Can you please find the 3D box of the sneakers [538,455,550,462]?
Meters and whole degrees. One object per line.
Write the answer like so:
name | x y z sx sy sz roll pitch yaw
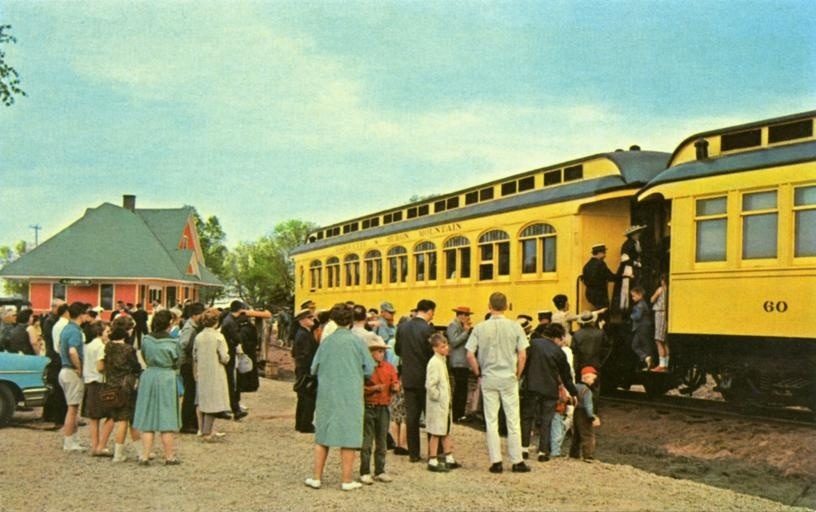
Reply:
sneakers | 2.298 3.391 14.131 0.238 0.105 0.132 0 7 -18

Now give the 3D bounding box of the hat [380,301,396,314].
hat | -0.391 0.964 15.741 0.196 0.182 0.312 4 7 13

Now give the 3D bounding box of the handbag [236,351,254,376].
handbag | -3.149 2.057 16.111 0.283 0.400 0.208 -6 32 3

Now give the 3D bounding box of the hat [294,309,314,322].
hat | -1.984 1.127 15.951 0.306 0.230 0.273 1 7 -6

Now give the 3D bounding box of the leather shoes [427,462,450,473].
leather shoes | 0.477 3.367 13.409 0.387 0.207 0.131 -2 1 2

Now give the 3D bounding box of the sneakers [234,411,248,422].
sneakers | -3.318 3.113 16.485 0.249 0.214 0.394 1 7 -10

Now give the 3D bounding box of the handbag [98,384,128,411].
handbag | -4.677 2.260 13.292 0.414 0.443 0.139 3 8 7

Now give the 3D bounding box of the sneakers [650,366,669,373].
sneakers | 4.942 2.219 16.466 0.251 0.086 0.131 4 -6 1

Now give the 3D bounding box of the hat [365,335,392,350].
hat | -0.469 1.322 12.861 0.367 0.205 0.174 -2 8 -29

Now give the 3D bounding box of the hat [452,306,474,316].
hat | 1.005 1.003 15.337 0.338 0.090 0.316 6 -5 -10

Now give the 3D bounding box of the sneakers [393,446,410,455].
sneakers | -0.125 3.323 14.303 0.258 0.096 0.112 -1 0 -6

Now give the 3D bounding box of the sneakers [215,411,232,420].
sneakers | -3.675 3.152 16.707 0.294 0.121 0.493 0 6 -13

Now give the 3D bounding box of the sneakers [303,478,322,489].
sneakers | -1.446 3.411 12.618 0.120 0.111 0.267 3 1 -45

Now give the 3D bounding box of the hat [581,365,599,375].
hat | 3.081 1.930 14.189 0.275 0.117 0.184 -6 1 -6

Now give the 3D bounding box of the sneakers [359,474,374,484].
sneakers | -0.625 3.395 12.731 0.110 0.081 0.197 1 -12 -22

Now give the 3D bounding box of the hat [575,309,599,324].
hat | 3.382 1.156 15.913 0.368 0.233 0.426 2 6 3

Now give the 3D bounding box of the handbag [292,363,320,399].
handbag | -1.744 2.046 13.603 0.424 0.482 0.565 22 4 -16

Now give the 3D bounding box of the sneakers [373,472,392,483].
sneakers | -0.396 3.402 12.885 0.228 0.083 0.121 -5 -5 41

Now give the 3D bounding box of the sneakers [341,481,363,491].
sneakers | -0.854 3.425 12.532 0.256 0.090 0.123 -3 1 -11
